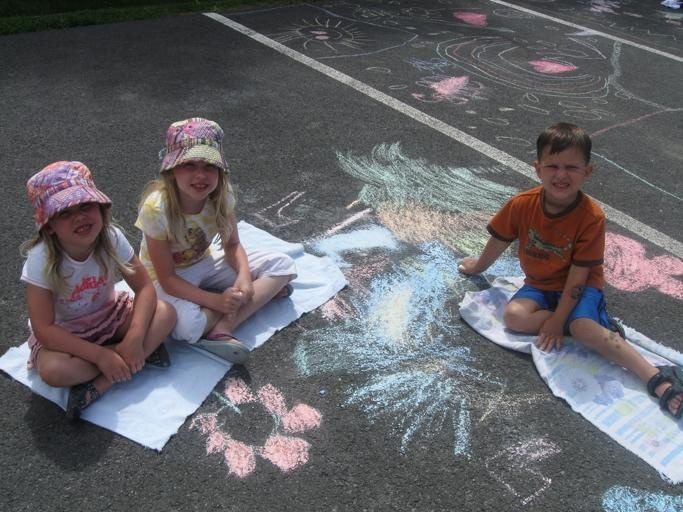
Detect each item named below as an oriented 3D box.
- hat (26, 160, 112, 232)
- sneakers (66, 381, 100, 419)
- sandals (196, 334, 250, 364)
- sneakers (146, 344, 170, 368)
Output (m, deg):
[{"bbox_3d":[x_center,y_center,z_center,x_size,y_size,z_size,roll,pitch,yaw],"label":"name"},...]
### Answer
[{"bbox_3d":[-1.446,-0.355,3.371,0.453,0.241,0.463,-18,8,-16],"label":"hat"},{"bbox_3d":[-1.358,0.749,3.351,0.103,0.082,0.230,-28,21,6],"label":"sneakers"},{"bbox_3d":[-0.658,0.507,3.644,0.381,0.111,0.119,12,32,17],"label":"sandals"},{"bbox_3d":[-1.021,0.569,3.573,0.079,0.067,0.169,10,61,4],"label":"sneakers"}]
